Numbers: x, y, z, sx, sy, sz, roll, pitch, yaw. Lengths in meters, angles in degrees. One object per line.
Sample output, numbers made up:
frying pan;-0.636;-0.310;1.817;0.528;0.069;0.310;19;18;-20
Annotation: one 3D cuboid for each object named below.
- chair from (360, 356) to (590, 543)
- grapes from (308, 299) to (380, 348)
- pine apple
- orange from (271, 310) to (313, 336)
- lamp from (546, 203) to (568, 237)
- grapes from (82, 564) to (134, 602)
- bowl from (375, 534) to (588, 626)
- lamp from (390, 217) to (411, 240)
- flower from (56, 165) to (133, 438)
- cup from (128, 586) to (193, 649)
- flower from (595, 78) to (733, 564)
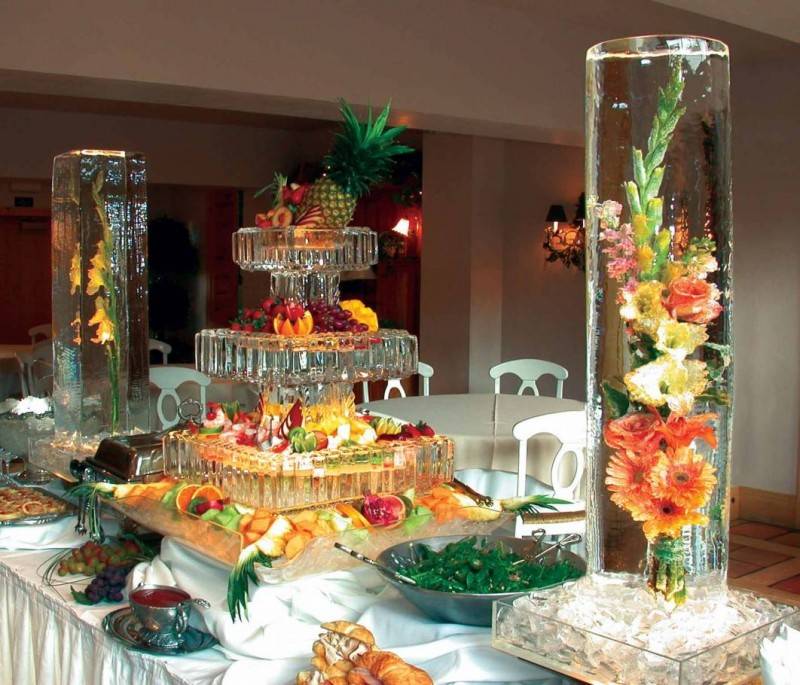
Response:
chair;0.420;0.389;2.835;0.739;0.372;0.716;-4;11;-18
grapes;-0.111;-0.043;1.398;0.138;0.090;0.259;-1;1;-2
pine apple;-0.100;-0.366;1.381;0.240;0.270;0.175;-1;1;4
orange;-0.202;-0.037;1.281;0.062;0.043;0.046;-3;3;3
lamp;1.440;-1.141;6.212;0.190;0.291;0.229;-1;1;12
grapes;-0.544;0.446;1.269;0.111;0.045;0.039;-9;-20;-37
bowl;0.142;0.348;1.053;0.257;0.058;0.260;0;-4;0
lamp;0.037;-1.276;7.536;0.222;0.171;0.208;23;16;0
flower;-0.909;-0.139;1.951;0.315;0.791;0.097;0;1;37
cup;-0.384;0.429;1.084;0.067;0.067;0.107;0;4;-35
flower;0.259;-0.045;0.672;0.136;0.458;0.092;-1;1;17
